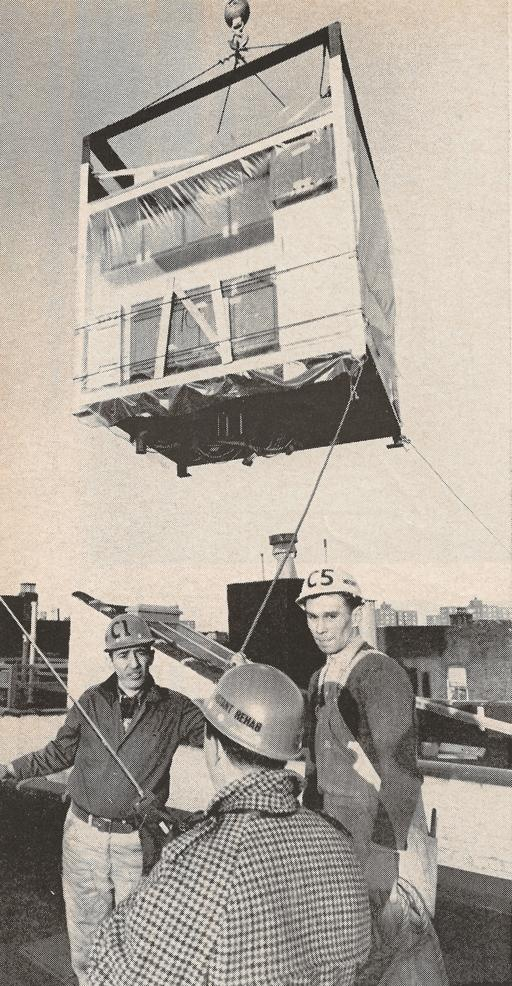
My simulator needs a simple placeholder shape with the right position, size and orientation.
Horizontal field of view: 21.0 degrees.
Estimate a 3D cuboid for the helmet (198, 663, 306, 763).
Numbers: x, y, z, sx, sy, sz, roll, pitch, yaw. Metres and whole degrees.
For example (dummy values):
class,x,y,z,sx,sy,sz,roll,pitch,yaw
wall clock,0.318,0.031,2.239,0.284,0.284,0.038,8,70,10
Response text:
class,x,y,z,sx,sy,sz,roll,pitch,yaw
helmet,-0.009,0.645,4.140,0.285,0.161,0.228,36,10,27
